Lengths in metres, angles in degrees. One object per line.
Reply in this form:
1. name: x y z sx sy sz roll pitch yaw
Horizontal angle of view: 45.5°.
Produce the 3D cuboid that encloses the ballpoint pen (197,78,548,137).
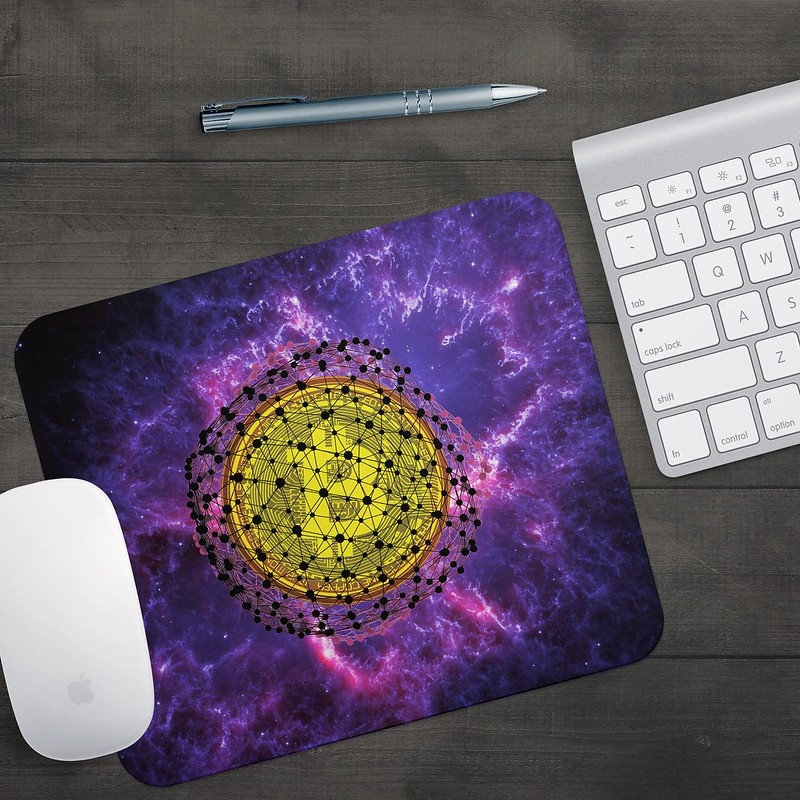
1. ballpoint pen: -0.023 -0.275 0.899 0.313 0.026 0.034 -4 74 -5
